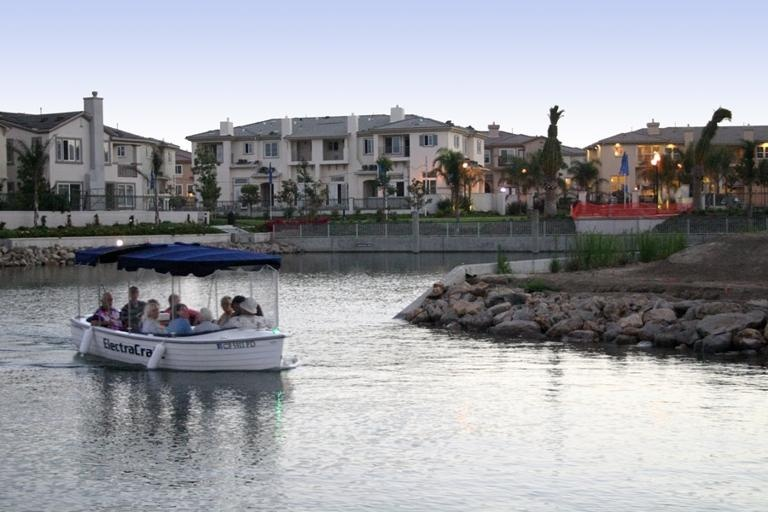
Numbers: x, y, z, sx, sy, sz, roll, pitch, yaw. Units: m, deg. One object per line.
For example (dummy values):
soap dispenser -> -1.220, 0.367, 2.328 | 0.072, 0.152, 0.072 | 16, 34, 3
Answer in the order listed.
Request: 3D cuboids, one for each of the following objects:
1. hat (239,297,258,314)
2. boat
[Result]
hat -> -4.328, 1.621, 41.134 | 0.470, 0.506, 0.203 | -21, -22, -41
boat -> -6.479, 1.628, 41.775 | 7.297, 4.014, 2.845 | 0, 0, 39
